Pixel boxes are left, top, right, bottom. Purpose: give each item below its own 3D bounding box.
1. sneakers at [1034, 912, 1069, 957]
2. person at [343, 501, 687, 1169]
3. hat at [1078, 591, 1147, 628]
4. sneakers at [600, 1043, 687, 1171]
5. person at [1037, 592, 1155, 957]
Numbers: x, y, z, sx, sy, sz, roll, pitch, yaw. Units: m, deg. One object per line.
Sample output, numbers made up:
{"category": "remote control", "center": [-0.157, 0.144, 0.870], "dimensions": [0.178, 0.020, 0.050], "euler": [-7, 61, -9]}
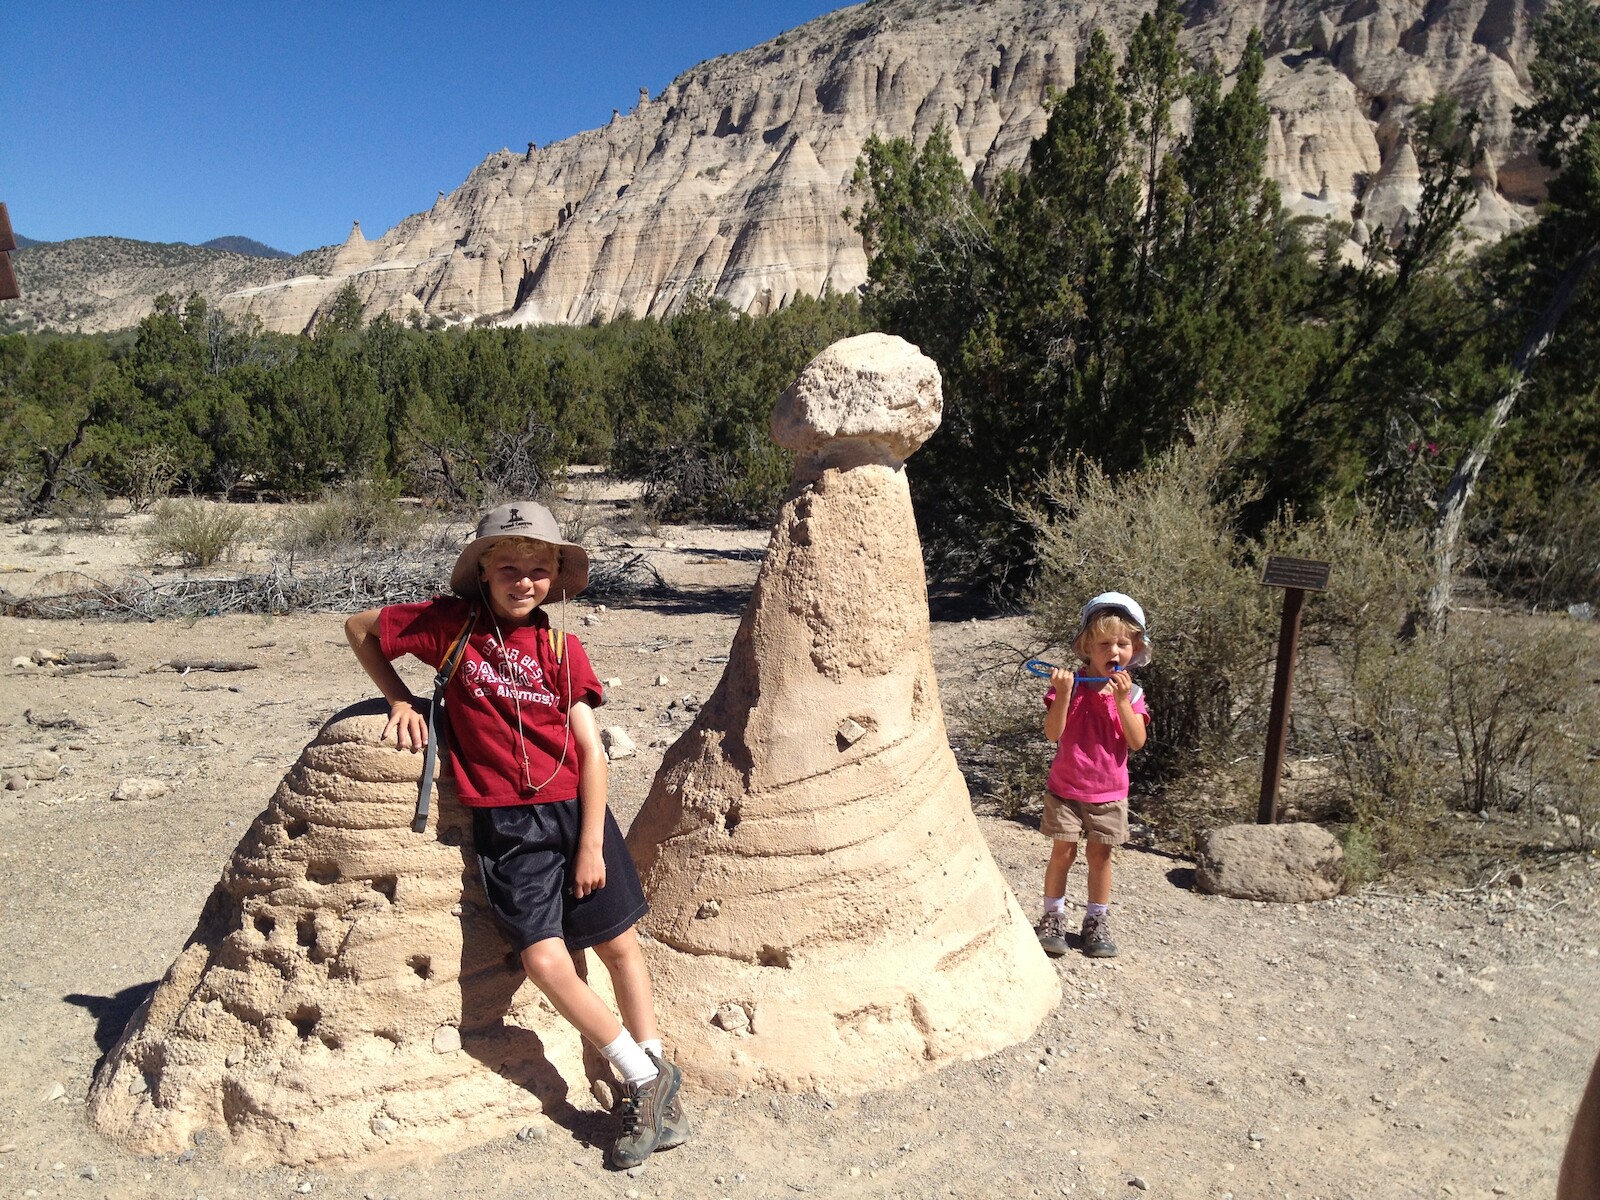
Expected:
{"category": "sneakers", "center": [1.010, 1.341, 4.884], "dimensions": [0.075, 0.114, 0.228], "euler": [-1, -5, 2]}
{"category": "person", "center": [-0.834, 0.707, 3.876], "dimensions": [1.031, 2.027, 0.373], "euler": [4, 5, 12]}
{"category": "hat", "center": [1.223, 0.040, 4.749], "dimensions": [0.190, 0.122, 0.128], "euler": [3, 5, -12]}
{"category": "sneakers", "center": [-0.484, 1.625, 3.864], "dimensions": [0.188, 0.443, 0.156], "euler": [37, -41, -13]}
{"category": "person", "center": [1.192, 0.688, 4.977], "dimensions": [0.385, 1.453, 0.649], "euler": [4, 5, 17]}
